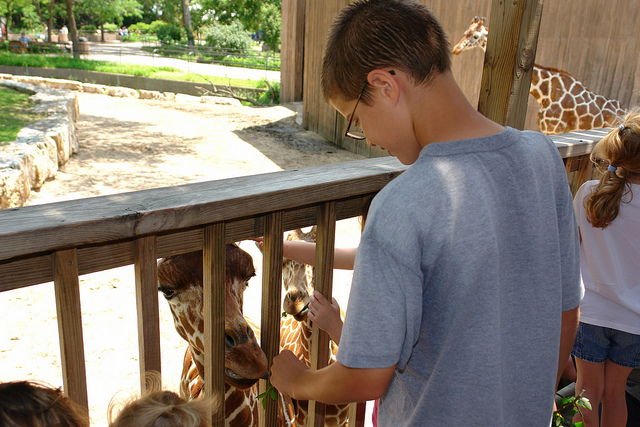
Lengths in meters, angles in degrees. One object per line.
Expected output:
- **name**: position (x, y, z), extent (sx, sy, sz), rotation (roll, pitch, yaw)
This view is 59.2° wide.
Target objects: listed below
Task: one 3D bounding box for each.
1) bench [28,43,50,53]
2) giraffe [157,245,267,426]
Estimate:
- **bench**: position (-17.515, -10.395, 35.130), extent (1.197, 0.493, 3.771), rotation (-5, 18, -25)
- **giraffe**: position (-0.471, 0.630, 2.473), extent (0.430, 1.000, 0.592), rotation (-2, 16, -13)
